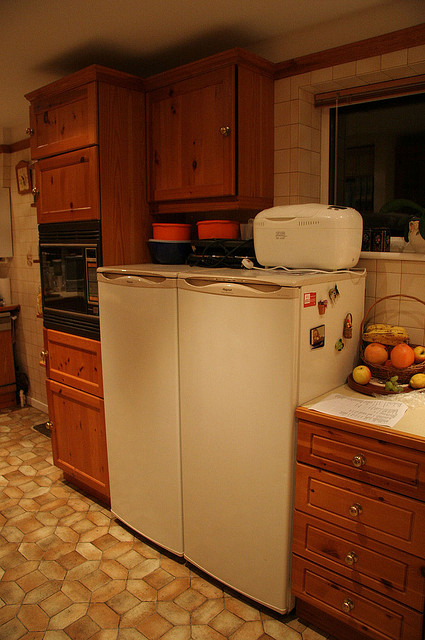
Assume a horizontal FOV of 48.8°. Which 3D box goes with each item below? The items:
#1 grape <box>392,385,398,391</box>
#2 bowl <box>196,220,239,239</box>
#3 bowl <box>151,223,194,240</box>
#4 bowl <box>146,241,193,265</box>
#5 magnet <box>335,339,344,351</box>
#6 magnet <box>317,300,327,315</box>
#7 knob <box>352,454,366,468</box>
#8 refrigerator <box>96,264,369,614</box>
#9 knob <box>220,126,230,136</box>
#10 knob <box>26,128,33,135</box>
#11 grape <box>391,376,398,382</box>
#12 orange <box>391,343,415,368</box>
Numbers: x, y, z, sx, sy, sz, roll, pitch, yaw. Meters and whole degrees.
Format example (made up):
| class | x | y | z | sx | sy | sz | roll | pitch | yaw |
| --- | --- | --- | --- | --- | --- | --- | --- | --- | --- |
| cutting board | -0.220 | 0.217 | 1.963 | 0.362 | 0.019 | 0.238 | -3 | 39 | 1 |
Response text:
| class | x | y | z | sx | sy | sz | roll | pitch | yaw |
| --- | --- | --- | --- | --- | --- | --- | --- | --- | --- |
| grape | 0.602 | 0.226 | 1.544 | 0.011 | 0.015 | 0.009 | -12 | -13 | 19 |
| bowl | 0.020 | -0.426 | 2.214 | 0.178 | 0.107 | 0.182 | -2 | 6 | 0 |
| bowl | -0.210 | -0.440 | 2.363 | 0.191 | 0.081 | 0.154 | -2 | 6 | -5 |
| bowl | -0.239 | -0.308 | 2.349 | 0.163 | 0.083 | 0.134 | -2 | -1 | 37 |
| magnet | 0.460 | 0.092 | 1.695 | 0.011 | 0.041 | 0.032 | -1 | -29 | 46 |
| magnet | 0.357 | -0.040 | 1.529 | 0.012 | 0.045 | 0.031 | 5 | 10 | 22 |
| knob | 0.414 | 0.398 | 1.323 | 0.016 | 0.032 | 0.032 | -7 | -34 | -42 |
| refrigerator | -0.001 | 0.390 | 1.858 | 0.953 | 1.181 | 0.369 | 3 | 7 | 40 |
| knob | 0.046 | -0.810 | 2.014 | 0.019 | 0.042 | 0.059 | -6 | 7 | -39 |
| knob | -1.030 | -1.051 | 2.629 | 0.042 | 0.045 | 0.012 | 2 | 9 | 14 |
| grape | 0.620 | 0.202 | 1.596 | 0.016 | 0.017 | 0.040 | 4 | 8 | 44 |
| orange | 0.663 | 0.129 | 1.645 | 0.071 | 0.097 | 0.076 | -5 | 2 | 15 |
